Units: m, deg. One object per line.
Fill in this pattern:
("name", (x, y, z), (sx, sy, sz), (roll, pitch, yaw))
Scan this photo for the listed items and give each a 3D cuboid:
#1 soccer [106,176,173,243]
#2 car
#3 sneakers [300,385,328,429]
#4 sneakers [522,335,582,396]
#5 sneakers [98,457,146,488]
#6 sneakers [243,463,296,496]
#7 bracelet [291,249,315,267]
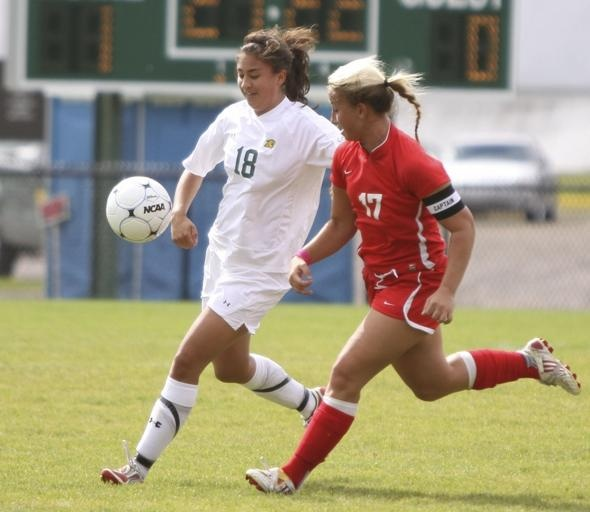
("soccer", (-1.043, -0.319, 6.973), (0.454, 0.476, 0.456), (4, 11, 19))
("car", (3.449, -1.526, 19.225), (1.636, 1.341, 3.632), (-1, 0, 11))
("sneakers", (0.130, 0.925, 7.067), (0.123, 0.296, 0.099), (27, -26, -14))
("sneakers", (1.782, 0.762, 7.675), (0.425, 0.155, 0.199), (42, 39, -2))
("sneakers", (-0.957, 1.213, 6.222), (0.280, 0.141, 0.104), (9, -9, -18))
("sneakers", (-0.138, 1.233, 6.207), (0.263, 0.126, 0.124), (18, -7, -11))
("bracelet", (0.068, -0.002, 6.507), (0.093, 0.100, 0.160), (7, 8, 33))
